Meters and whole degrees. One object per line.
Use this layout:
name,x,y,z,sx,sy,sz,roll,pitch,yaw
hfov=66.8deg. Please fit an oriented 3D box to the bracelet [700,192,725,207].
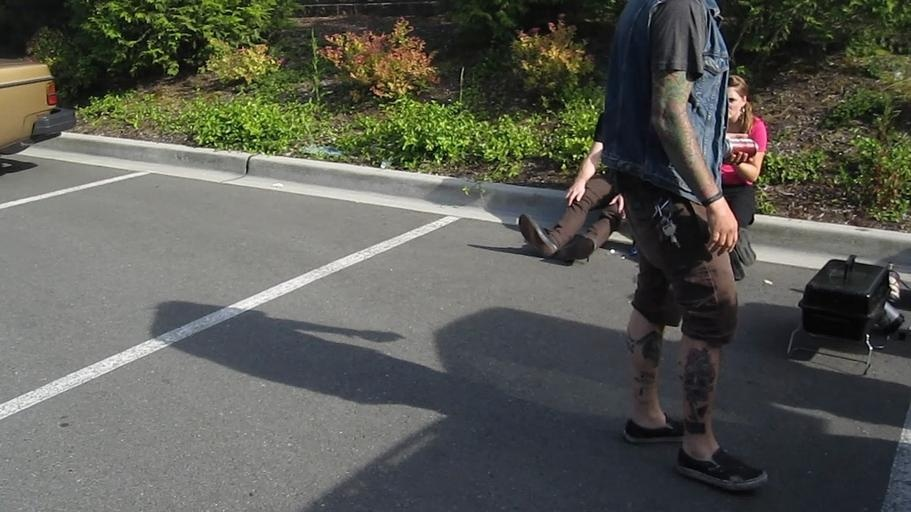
bracelet,1.931,-0.430,5.158,0.213,0.095,0.076,-17,31,-26

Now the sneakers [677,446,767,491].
sneakers,2.101,1.693,5.513,0.672,0.237,0.294,6,16,21

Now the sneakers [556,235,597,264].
sneakers,1.356,-0.084,7.830,0.562,0.205,0.238,-22,5,42

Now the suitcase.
suitcase,3.587,0.359,6.363,0.736,0.653,0.997,12,35,39

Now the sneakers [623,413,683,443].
sneakers,1.643,1.478,5.848,0.534,0.205,0.191,-3,22,4
